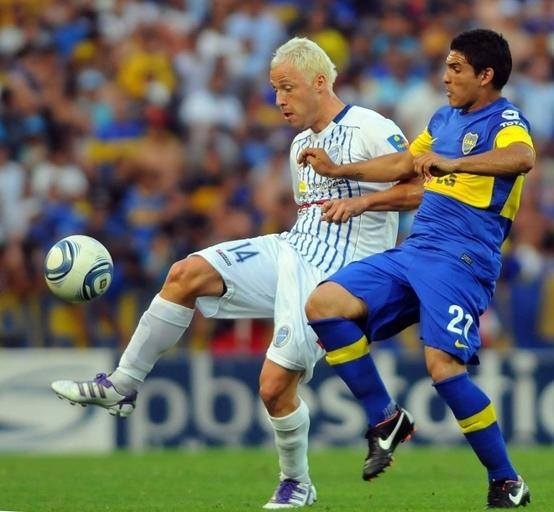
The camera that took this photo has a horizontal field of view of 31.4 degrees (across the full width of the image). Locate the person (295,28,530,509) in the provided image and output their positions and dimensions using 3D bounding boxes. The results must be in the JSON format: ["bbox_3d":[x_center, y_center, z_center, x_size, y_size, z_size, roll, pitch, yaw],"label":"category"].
[{"bbox_3d":[0.869,0.052,5.656,1.196,2.712,0.618,-1,-7,13],"label":"person"}]

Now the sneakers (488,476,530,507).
[{"bbox_3d":[1.317,1.333,5.548,0.290,0.170,0.203,2,-7,-11],"label":"sneakers"}]

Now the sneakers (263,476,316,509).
[{"bbox_3d":[0.093,1.428,5.973,0.125,0.160,0.356,0,-2,30],"label":"sneakers"}]
